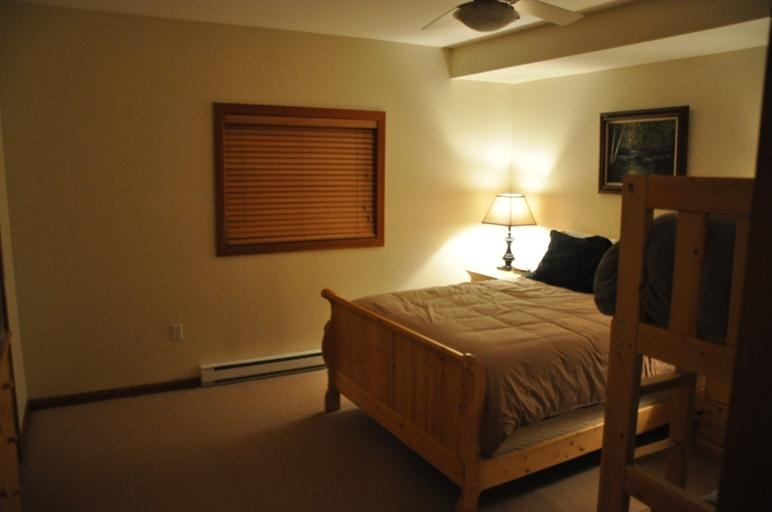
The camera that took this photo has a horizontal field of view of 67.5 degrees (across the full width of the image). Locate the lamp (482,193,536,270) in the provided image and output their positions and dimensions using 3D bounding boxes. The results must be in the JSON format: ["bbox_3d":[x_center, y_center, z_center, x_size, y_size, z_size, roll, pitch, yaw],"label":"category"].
[{"bbox_3d":[1.293,-0.244,6.028,0.537,0.785,0.435,-6,15,-21],"label":"lamp"}]

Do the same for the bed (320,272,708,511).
[{"bbox_3d":[0.388,0.511,4.160,1.697,0.794,1.697,-5,9,-27],"label":"bed"}]

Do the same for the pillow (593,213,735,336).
[{"bbox_3d":[1.447,0.103,2.782,0.151,0.589,0.545,-2,10,-35],"label":"pillow"}]
